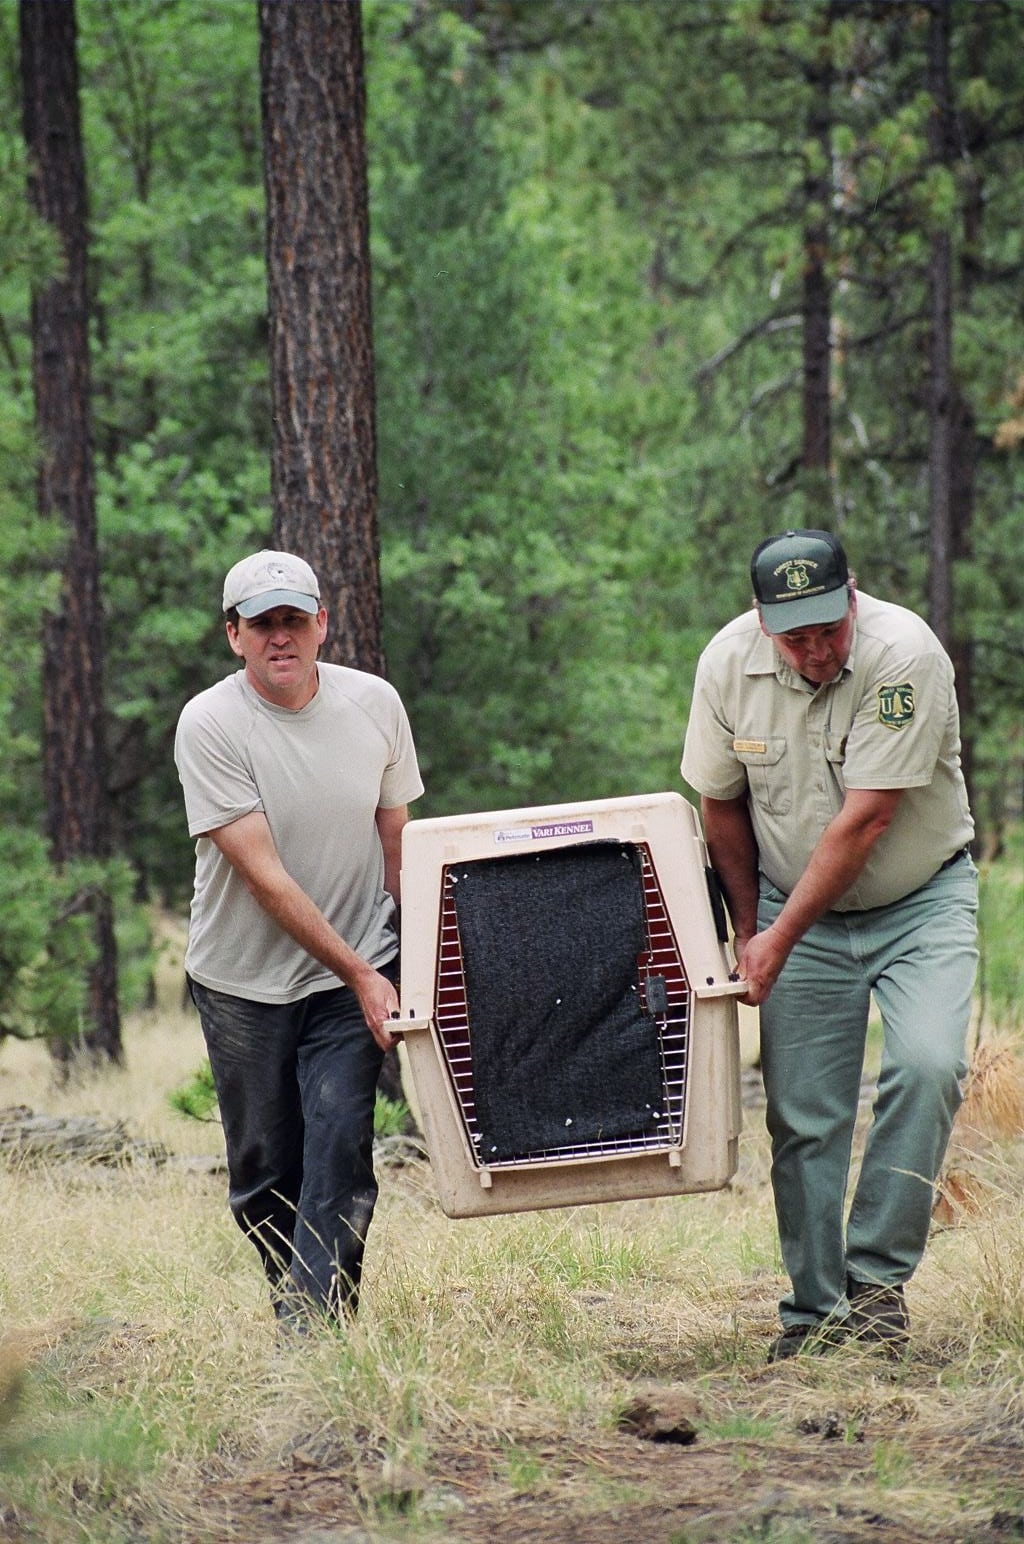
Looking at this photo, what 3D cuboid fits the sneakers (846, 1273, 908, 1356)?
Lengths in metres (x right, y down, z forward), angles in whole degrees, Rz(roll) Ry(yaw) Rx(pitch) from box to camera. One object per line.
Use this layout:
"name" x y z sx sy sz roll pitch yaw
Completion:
"sneakers" 0.949 1.409 8.058 0.082 0.179 0.248 1 2 5

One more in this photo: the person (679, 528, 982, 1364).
"person" 0.832 0.434 8.138 0.747 2.121 0.542 0 7 7

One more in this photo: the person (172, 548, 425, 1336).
"person" -0.545 0.428 8.162 0.633 1.996 0.753 -2 7 -2

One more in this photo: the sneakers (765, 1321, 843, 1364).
"sneakers" 0.761 1.471 8.070 0.099 0.061 0.165 -16 -11 15

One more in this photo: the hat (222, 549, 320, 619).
"hat" -0.618 -0.488 8.105 0.249 0.165 0.235 -2 8 -5

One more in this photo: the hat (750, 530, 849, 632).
"hat" 0.727 -0.487 7.932 0.183 0.160 0.291 -8 30 12
